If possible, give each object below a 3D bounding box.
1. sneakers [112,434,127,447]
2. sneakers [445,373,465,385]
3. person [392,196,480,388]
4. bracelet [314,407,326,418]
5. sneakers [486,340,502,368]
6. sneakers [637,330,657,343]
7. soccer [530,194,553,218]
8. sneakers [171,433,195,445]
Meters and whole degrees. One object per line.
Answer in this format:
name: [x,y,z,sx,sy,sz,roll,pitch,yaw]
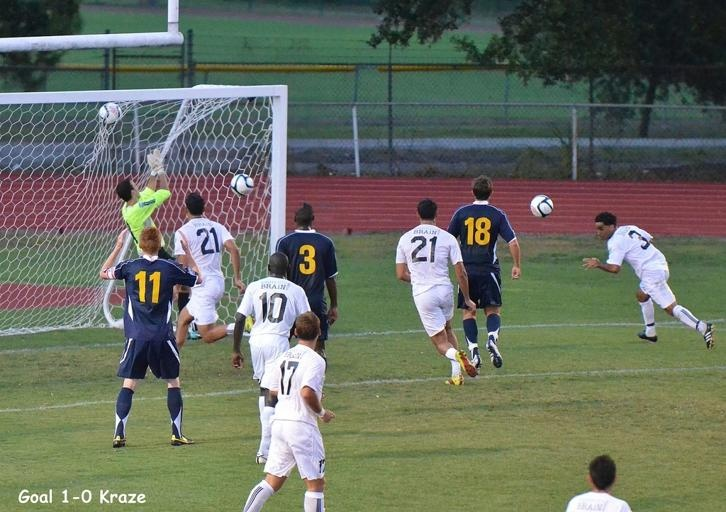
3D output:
sneakers: [-4.616,3.523,28.699,0.208,0.219,0.245,2,-17,-4]
sneakers: [1.912,2.536,30.854,0.158,0.165,0.425,1,0,-44]
person: [1.566,0.741,30.733,1.663,3.746,1.085,3,8,25]
bracelet: [-0.751,2.841,27.350,0.184,0.145,0.180,9,16,31]
sneakers: [2.718,2.039,31.175,0.227,0.580,0.304,-30,-10,22]
sneakers: [6.166,1.749,32.520,0.499,0.191,0.181,17,17,32]
soccer: [3.949,-1.076,32.967,0.422,0.427,0.414,3,8,23]
sneakers: [-3.435,3.519,28.917,0.466,0.179,0.168,-1,0,-7]
